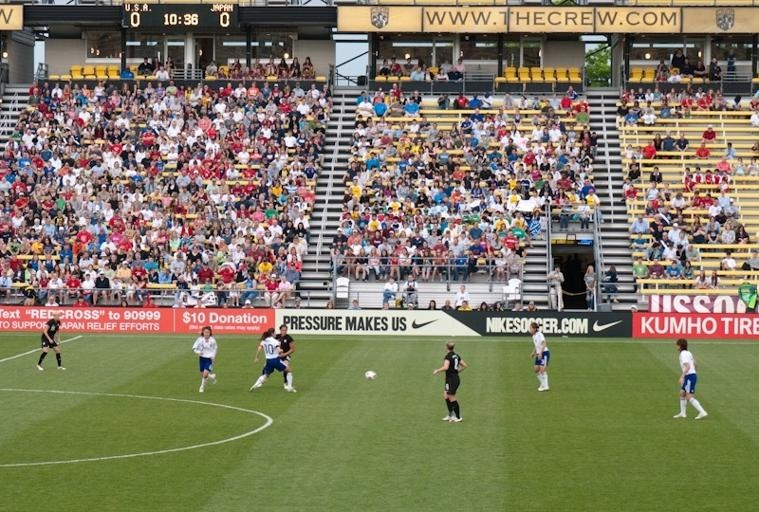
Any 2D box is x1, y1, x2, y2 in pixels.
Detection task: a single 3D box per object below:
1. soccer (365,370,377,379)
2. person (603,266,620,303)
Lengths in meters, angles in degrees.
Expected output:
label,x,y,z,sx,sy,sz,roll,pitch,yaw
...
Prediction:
label,x,y,z,sx,sy,sz,roll,pitch,yaw
soccer,-0.322,5.039,58.180,0.413,0.217,0.410,2,2,-10
person,11.758,1.446,70.485,0.723,1.882,0.970,1,6,16
